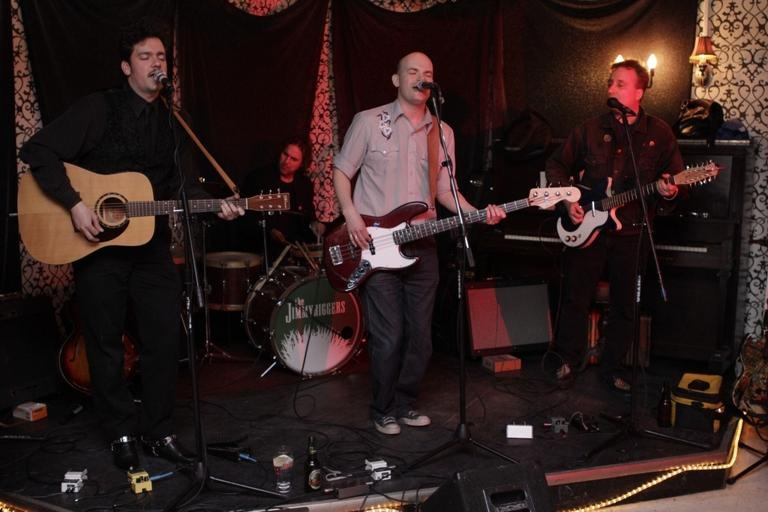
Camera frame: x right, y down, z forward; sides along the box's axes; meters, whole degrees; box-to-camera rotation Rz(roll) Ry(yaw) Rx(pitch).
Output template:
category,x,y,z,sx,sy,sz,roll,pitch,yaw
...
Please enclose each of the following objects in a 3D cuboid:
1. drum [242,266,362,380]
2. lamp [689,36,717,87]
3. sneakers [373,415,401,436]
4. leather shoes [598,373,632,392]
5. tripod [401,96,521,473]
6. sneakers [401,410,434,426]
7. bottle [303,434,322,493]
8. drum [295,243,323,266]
category,x,y,z,sx,sy,sz,roll,pitch,yaw
drum,-0.652,0.476,6.426,1.185,1.206,0.780,-2,14,-35
lamp,3.053,-1.881,6.842,0.257,0.454,0.251,1,1,10
sneakers,0.025,1.235,5.151,0.087,0.081,0.208,3,-8,-33
leather shoes,1.935,1.090,5.981,0.262,0.152,0.065,-3,-19,36
tripod,0.529,0.072,5.156,0.746,2.469,1.660,1,14,5
sneakers,0.233,1.208,5.290,0.245,0.105,0.096,1,-3,16
bottle,-0.458,1.293,4.530,0.118,0.340,0.209,-2,14,-7
drum,-0.668,-0.009,6.374,0.175,0.140,0.181,0,8,0
